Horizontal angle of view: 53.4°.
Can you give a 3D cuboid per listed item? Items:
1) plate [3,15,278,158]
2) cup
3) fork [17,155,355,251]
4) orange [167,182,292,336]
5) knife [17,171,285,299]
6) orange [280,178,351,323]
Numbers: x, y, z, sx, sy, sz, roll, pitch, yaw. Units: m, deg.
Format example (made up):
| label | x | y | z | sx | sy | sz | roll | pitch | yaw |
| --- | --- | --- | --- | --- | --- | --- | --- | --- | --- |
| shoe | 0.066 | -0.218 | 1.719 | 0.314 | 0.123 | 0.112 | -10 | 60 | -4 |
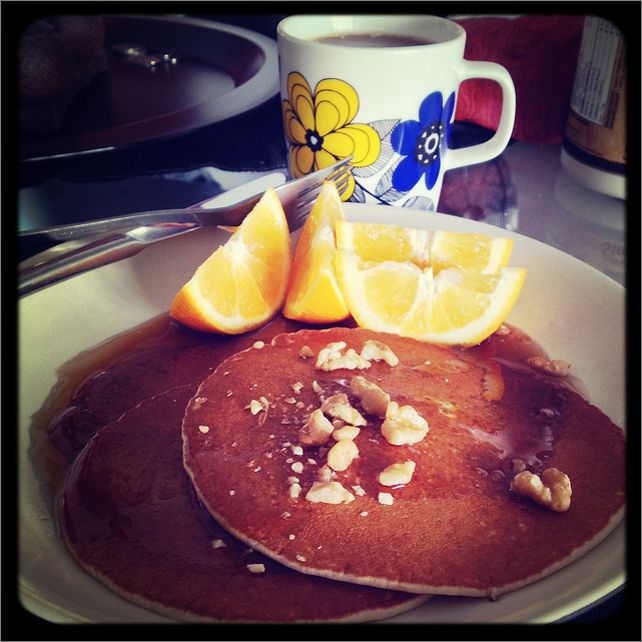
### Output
| label | x | y | z | sx | sy | sz | roll | pitch | yaw |
| --- | --- | --- | --- | --- | --- | --- | --- | --- | --- |
| plate | -0.290 | -0.491 | 1.233 | 0.411 | 0.107 | 0.775 | -7 | 45 | -1 |
| cup | 0.115 | -0.331 | 0.970 | 0.342 | 0.250 | 0.227 | -6 | 42 | -8 |
| fork | -0.201 | -0.164 | 0.900 | 0.347 | 0.057 | 0.045 | -26 | 64 | -26 |
| orange | -0.114 | -0.071 | 0.814 | 0.092 | 0.113 | 0.184 | 16 | 55 | 22 |
| knife | -0.233 | -0.111 | 0.849 | 0.427 | 0.050 | 0.049 | -28 | 21 | -33 |
| orange | -0.009 | -0.084 | 0.807 | 0.084 | 0.087 | 0.193 | 8 | 51 | -9 |
